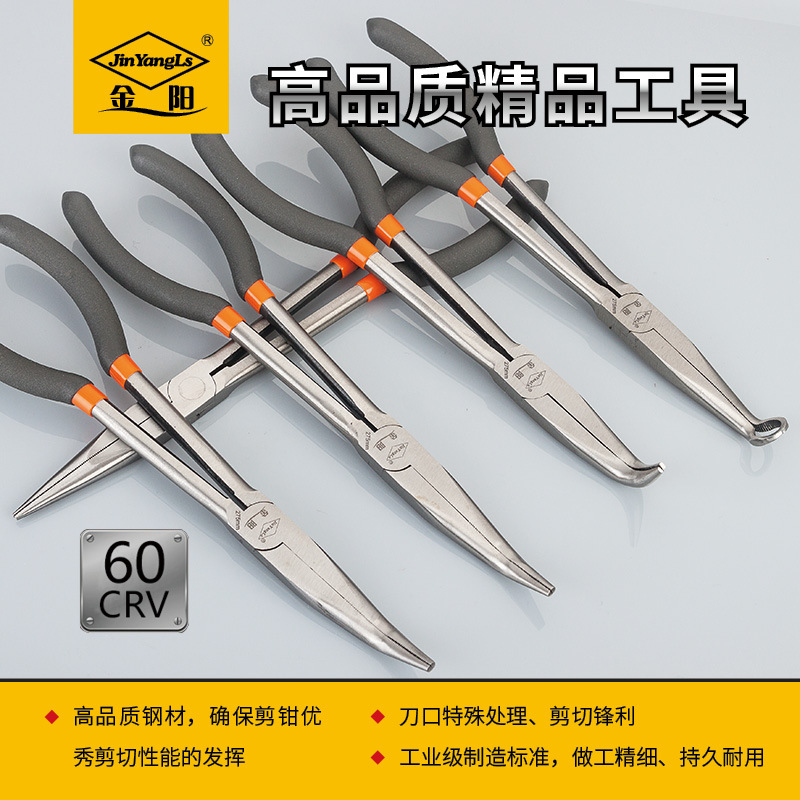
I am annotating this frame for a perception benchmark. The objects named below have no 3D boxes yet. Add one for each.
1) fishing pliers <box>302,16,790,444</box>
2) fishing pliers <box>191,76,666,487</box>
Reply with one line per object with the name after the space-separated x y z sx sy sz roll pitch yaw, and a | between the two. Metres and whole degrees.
0.065 -0.243 1.068 0.219 0.893 0.069 -38 -22 -19 | fishing pliers
-0.072 -0.172 0.991 0.196 0.842 0.079 -40 -17 -16 | fishing pliers
